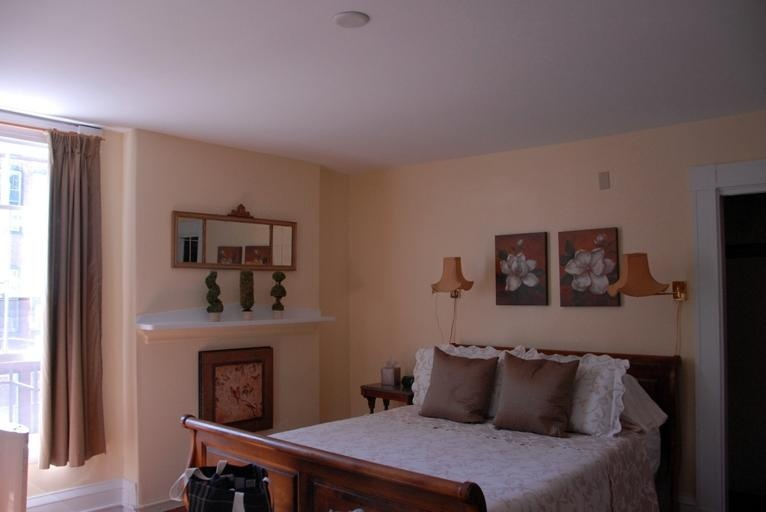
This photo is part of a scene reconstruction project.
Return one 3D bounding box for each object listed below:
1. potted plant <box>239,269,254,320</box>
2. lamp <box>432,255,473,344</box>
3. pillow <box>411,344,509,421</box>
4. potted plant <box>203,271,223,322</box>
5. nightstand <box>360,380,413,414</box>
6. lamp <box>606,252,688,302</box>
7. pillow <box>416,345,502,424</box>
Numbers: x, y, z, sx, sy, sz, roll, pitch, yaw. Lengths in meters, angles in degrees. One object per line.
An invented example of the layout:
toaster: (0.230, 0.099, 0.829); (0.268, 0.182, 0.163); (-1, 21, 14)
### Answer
potted plant: (-1.381, 0.377, 5.576); (0.147, 0.470, 0.225); (-2, -2, -14)
lamp: (0.713, 0.463, 5.717); (0.440, 0.895, 0.428); (-3, -2, 11)
pillow: (0.658, 0.895, 4.899); (0.928, 0.824, 0.460); (1, -1, 37)
potted plant: (-1.640, 0.380, 5.360); (0.165, 0.474, 0.199); (-1, -3, -19)
nightstand: (0.035, 1.438, 5.751); (0.331, 0.435, 0.521); (0, -1, -41)
lamp: (2.240, 0.204, 4.742); (0.429, 0.351, 0.532); (-5, 0, -38)
pillow: (0.659, 1.120, 4.737); (0.574, 0.557, 0.173); (2, -20, 39)
